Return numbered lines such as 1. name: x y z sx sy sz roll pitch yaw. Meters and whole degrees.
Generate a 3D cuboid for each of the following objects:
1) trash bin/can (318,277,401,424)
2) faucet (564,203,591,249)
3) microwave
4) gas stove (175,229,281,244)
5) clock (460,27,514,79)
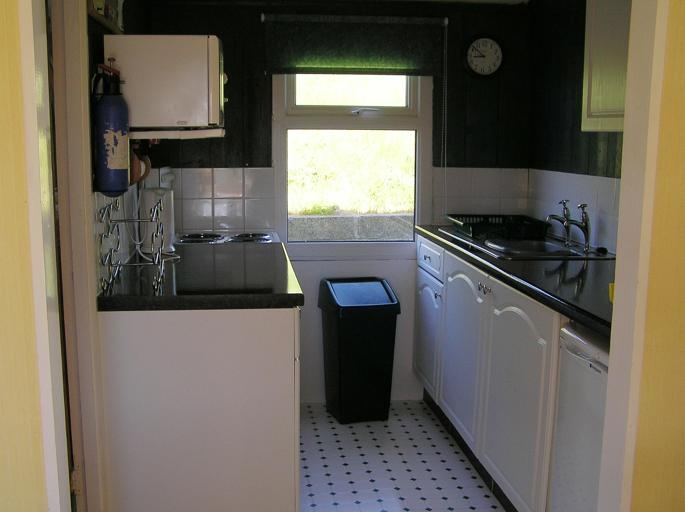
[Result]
1. trash bin/can: 0.083 0.586 3.675 0.456 0.833 0.442 -1 10 -7
2. faucet: 1.267 -0.173 3.139 0.124 0.244 0.438 4 12 23
3. microwave: -0.725 -0.674 2.426 0.366 0.338 0.381 -5 10 -17
4. gas stove: -0.706 -0.107 3.538 0.606 0.044 0.533 -1 11 -6
5. clock: 0.931 -1.257 3.765 0.232 0.265 0.273 -6 51 14
